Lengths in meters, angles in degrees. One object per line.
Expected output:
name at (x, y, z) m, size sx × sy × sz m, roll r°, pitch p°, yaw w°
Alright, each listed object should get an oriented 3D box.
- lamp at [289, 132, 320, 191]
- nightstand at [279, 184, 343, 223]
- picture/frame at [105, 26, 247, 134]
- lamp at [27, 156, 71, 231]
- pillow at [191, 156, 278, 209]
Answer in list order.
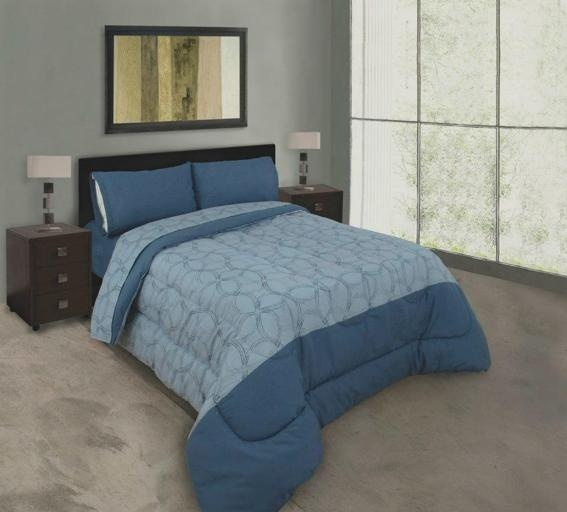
lamp at (0.189, -0.912, 5.277) m, size 0.349 × 0.559 × 0.352 m, roll -2°, pitch -3°, yaw 34°
nightstand at (0.259, -0.549, 5.258) m, size 0.541 × 0.531 × 0.384 m, roll -6°, pitch 11°, yaw -31°
picture/frame at (-0.885, -1.509, 4.495) m, size 1.211 × 0.842 × 0.046 m, roll -10°, pitch 34°, yaw -26°
lamp at (-1.663, -0.471, 3.846) m, size 0.296 × 0.507 × 0.421 m, roll -9°, pitch 16°, yaw -24°
pillow at (-0.398, -0.637, 4.615) m, size 0.743 × 0.427 × 0.217 m, roll -8°, pitch 13°, yaw -16°
